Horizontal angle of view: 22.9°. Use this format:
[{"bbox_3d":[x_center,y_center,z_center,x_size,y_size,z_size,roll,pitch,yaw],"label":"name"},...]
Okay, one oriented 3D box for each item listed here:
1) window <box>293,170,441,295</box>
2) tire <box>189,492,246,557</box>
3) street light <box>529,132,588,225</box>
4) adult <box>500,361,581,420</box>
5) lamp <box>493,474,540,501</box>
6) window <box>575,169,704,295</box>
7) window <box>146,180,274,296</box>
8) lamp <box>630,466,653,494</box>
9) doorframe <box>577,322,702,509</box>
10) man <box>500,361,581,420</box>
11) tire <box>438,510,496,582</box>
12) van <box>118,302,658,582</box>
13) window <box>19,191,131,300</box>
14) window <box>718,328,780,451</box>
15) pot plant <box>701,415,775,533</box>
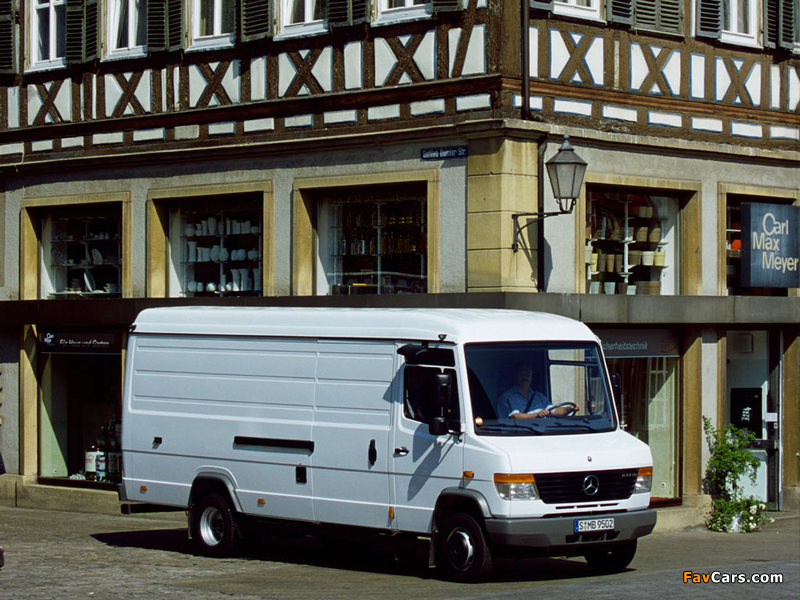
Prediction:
[{"bbox_3d":[-0.539,-1.015,30.705,2.302,2.057,0.376,-1,12,14],"label":"window"},{"bbox_3d":[-2.525,3.095,27.204,0.788,0.882,0.291,14,8,37],"label":"tire"},{"bbox_3d":[2.391,-1.832,29.236,0.652,1.246,0.783,1,0,-6],"label":"street light"},{"bbox_3d":[1.791,1.300,25.439,1.145,0.780,0.823,9,11,40],"label":"adult"},{"bbox_3d":[1.478,2.362,25.035,0.357,0.251,0.362,-10,-14,41],"label":"lamp"},{"bbox_3d":[3.651,-1.082,30.679,1.661,1.629,0.547,3,-6,-33],"label":"window"},{"bbox_3d":[-3.033,-1.030,32.064,1.639,1.493,0.232,-1,-2,30],"label":"window"},{"bbox_3d":[3.175,2.338,25.802,0.072,0.347,0.373,0,0,37],"label":"lamp"},{"bbox_3d":[3.448,1.640,28.638,2.593,3.450,0.214,0,-2,-31],"label":"doorframe"},{"bbox_3d":[1.798,1.272,25.463,1.149,0.820,0.820,6,7,28],"label":"man"},{"bbox_3d":[0.830,3.184,25.427,0.835,0.943,0.321,0,0,38],"label":"tire"},{"bbox_3d":[-0.326,1.705,26.634,5.963,2.883,3.317,-3,-4,42],"label":"van"},{"bbox_3d":[-5.462,-0.938,33.464,1.571,1.610,0.508,-1,-3,28],"label":"window"},{"bbox_3d":[5.597,1.408,32.558,0.908,2.026,1.060,-4,23,2],"label":"window"},{"bbox_3d":[5.174,2.718,30.916,0.884,1.816,0.498,0,0,10],"label":"pot plant"}]
